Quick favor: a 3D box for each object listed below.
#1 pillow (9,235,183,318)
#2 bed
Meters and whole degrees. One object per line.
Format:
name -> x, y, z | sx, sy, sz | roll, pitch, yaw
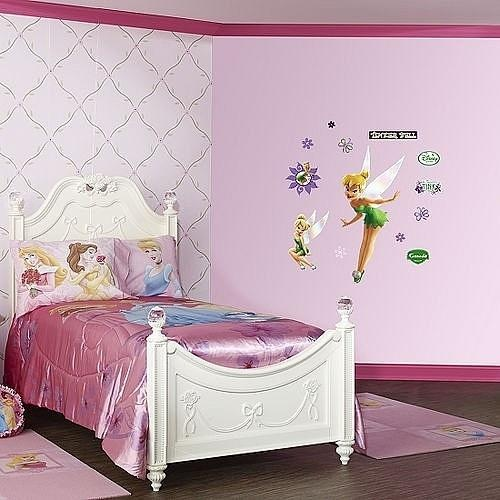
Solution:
pillow -> -1.040, 0.192, 3.381 | 0.752, 0.417, 0.122 | -1, -45, -32
bed -> -0.596, 0.188, 3.156 | 1.425, 1.527, 2.412 | -1, 2, -30
